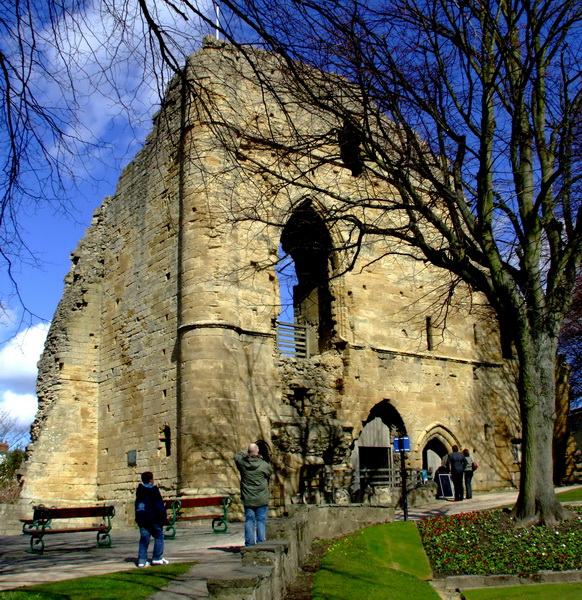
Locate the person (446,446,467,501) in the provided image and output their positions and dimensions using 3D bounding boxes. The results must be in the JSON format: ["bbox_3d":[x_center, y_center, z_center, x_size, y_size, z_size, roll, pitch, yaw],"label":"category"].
[{"bbox_3d":[4.877,5.043,19.816,0.519,1.558,1.397,-4,-19,12],"label":"person"}]

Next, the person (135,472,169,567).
[{"bbox_3d":[-1.896,2.982,9.330,0.477,1.209,1.095,3,-18,-9],"label":"person"}]
